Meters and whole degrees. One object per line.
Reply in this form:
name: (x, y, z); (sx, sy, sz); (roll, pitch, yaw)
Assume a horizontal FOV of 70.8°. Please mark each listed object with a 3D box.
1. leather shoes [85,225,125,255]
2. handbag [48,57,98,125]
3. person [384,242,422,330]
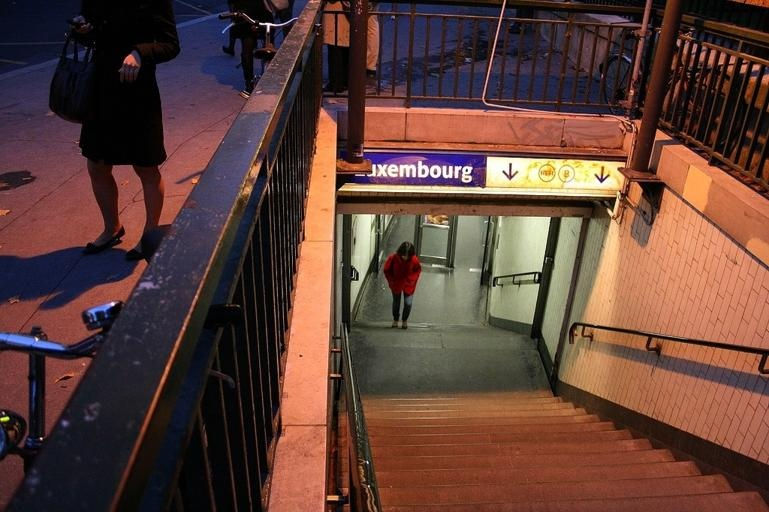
leather shoes: (-2.005, -0.115, 3.910); (0.112, 0.143, 0.337); (6, 28, 34)
handbag: (-1.997, -1.043, 3.398); (0.298, 0.390, 0.173); (14, 18, 31)
person: (0.281, 0.560, 9.427); (0.642, 1.641, 0.468); (3, 21, 1)
